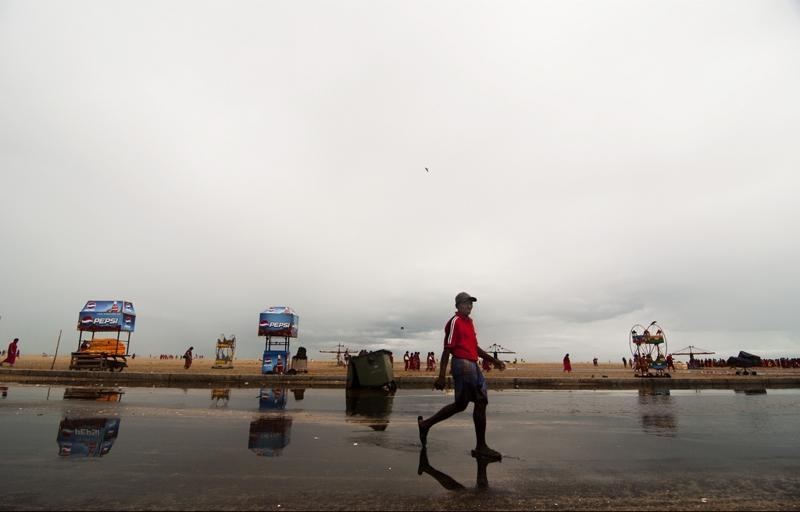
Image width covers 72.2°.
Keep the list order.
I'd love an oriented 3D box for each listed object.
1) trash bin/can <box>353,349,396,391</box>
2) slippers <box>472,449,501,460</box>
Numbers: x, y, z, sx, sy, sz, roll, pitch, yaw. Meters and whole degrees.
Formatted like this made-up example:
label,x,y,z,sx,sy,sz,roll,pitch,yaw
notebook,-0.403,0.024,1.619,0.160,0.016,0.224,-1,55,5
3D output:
label,x,y,z,sx,sy,sz,roll,pitch,yaw
trash bin/can,-1.093,4.442,21.272,1.819,1.306,1.957,-20,-18,14
slippers,1.660,3.738,10.442,0.541,0.314,0.181,-7,-13,17
